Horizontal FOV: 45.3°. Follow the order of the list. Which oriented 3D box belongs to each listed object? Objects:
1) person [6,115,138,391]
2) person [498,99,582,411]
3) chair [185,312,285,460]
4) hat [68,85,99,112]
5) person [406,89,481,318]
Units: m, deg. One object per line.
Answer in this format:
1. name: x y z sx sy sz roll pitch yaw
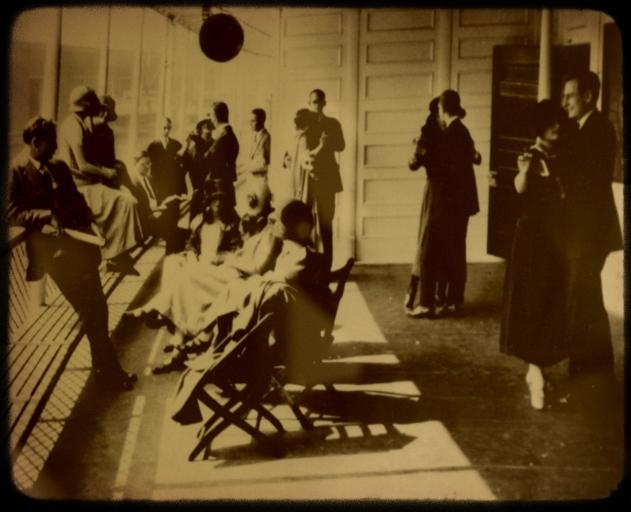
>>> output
1. person: -1.596 -0.042 4.937 0.734 1.691 0.222 3 9 11
2. person: 1.477 -0.029 4.949 0.403 1.951 0.468 6 10 27
3. chair: -0.476 0.811 5.078 0.728 1.185 0.721 4 -1 -7
4. hat: -1.506 -1.030 4.925 0.115 0.123 0.183 -1 32 7
5. person: 0.843 -0.347 4.991 0.460 1.473 0.182 2 9 8
